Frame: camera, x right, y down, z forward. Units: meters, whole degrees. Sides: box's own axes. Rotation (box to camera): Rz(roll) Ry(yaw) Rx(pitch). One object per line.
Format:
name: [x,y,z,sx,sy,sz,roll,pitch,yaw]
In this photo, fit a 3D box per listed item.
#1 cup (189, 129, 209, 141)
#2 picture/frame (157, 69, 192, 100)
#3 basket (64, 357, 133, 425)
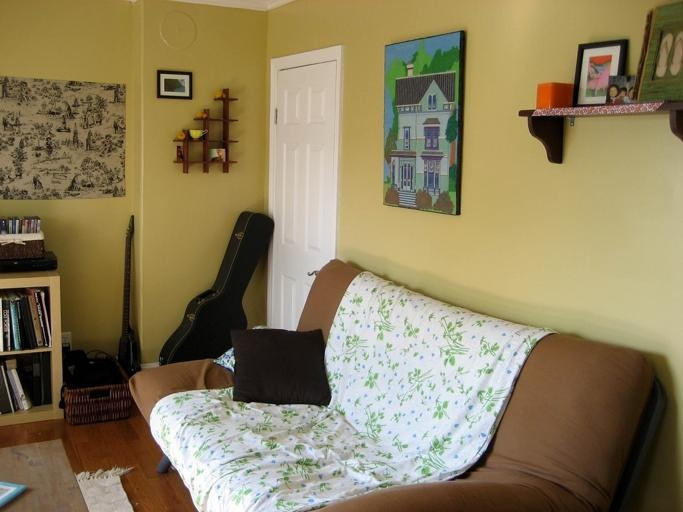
cup: [-1.118,-0.949,3.944,0.088,0.078,0.135,11,17,35]
picture/frame: [-1.296,-1.320,3.878,0.216,0.207,0.019,1,5,-26]
basket: [-1.756,0.922,3.644,0.312,0.217,0.544,-2,5,-23]
